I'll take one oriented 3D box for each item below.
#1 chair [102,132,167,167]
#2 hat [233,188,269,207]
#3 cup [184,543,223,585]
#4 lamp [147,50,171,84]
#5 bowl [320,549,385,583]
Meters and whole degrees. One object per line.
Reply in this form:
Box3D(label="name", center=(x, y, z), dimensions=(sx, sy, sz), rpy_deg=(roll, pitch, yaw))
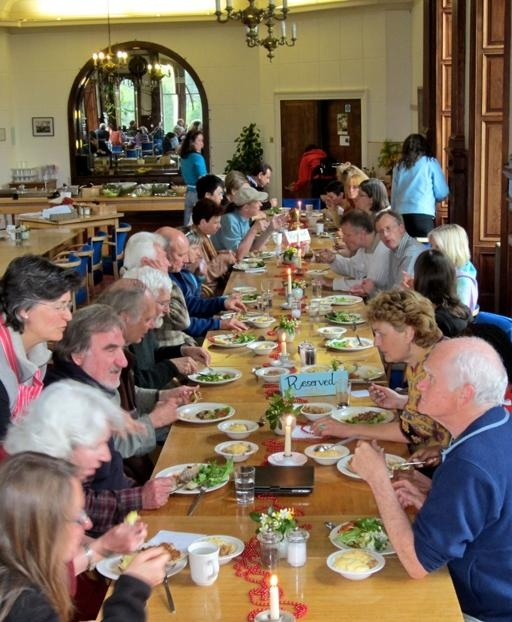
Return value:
Box3D(label="chair", center=(-3.200, -4.342, 13.784), dimensions=(1.342, 0.765, 0.782), rpy_deg=(-2, 16, -2))
Box3D(label="hat", center=(-0.057, -1.493, 6.691), dimensions=(0.431, 0.200, 0.268), rpy_deg=(-10, 27, -13))
Box3D(label="cup", center=(-0.121, 0.630, 1.255), dimensions=(0.078, 0.079, 0.115), rpy_deg=(2, -3, -24))
Box3D(label="lamp", center=(-2.561, -6.256, 13.256), dimensions=(0.667, 0.612, 0.649), rpy_deg=(2, 6, 15))
Box3D(label="bowl", center=(0.246, 0.637, 1.286), dimensions=(0.136, 0.051, 0.123), rpy_deg=(-1, 12, 18))
